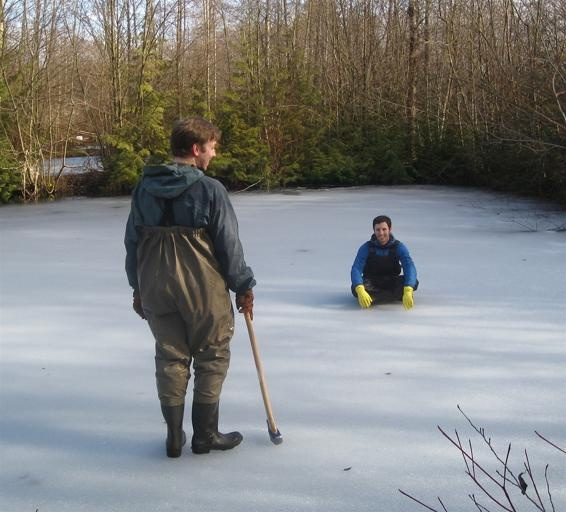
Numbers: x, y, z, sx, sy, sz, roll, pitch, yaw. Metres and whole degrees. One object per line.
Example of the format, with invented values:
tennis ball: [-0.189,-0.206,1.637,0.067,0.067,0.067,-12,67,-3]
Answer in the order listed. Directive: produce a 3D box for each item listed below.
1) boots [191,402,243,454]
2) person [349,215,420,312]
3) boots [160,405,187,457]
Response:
boots: [-0.383,1.042,5.274,0.376,0.381,0.184,-7,10,-23]
person: [0.940,0.081,8.277,0.498,0.984,0.580,0,1,9]
boots: [-0.672,1.059,5.137,0.124,0.327,0.075,-2,12,-6]
